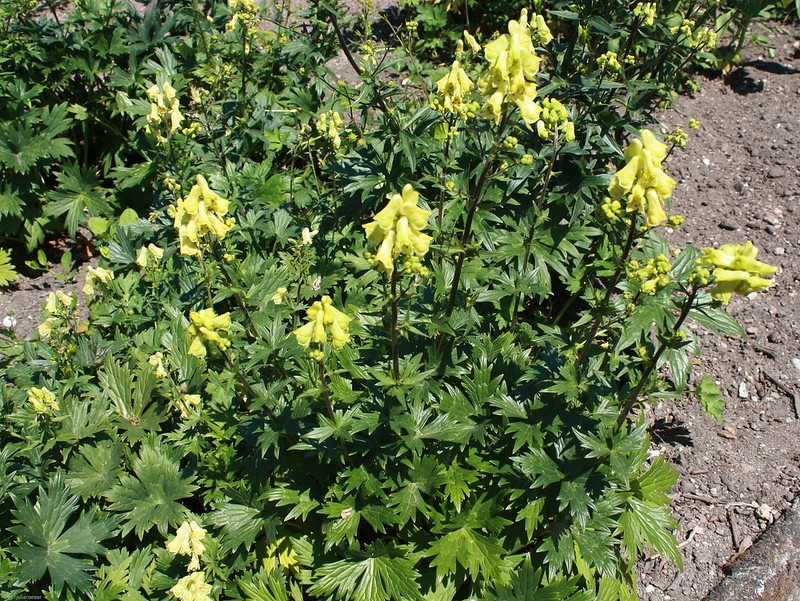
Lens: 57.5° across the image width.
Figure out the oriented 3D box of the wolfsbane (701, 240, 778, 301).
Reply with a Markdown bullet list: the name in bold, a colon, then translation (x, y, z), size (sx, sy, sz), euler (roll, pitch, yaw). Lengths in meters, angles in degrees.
- **wolfsbane**: translation (2.148, -0.202, 4.647), size (0.414, 0.373, 0.264), euler (21, 38, -9)
